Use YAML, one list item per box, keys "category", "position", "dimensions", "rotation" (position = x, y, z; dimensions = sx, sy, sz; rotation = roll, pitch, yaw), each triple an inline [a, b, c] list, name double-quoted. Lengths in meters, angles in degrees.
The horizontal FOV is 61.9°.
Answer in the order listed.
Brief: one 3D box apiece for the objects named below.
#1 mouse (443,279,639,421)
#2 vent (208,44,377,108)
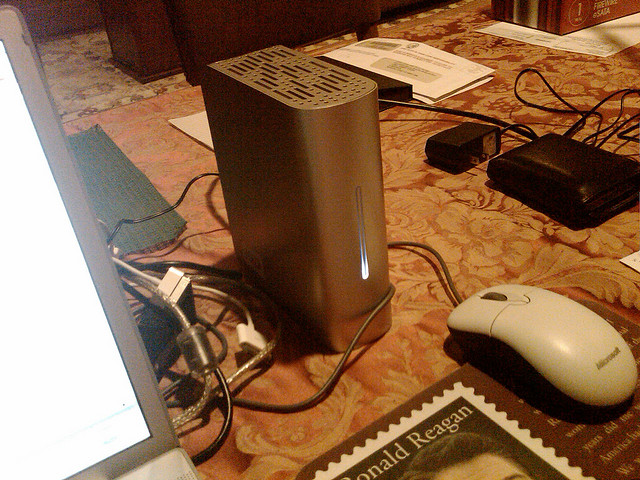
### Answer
- category: "mouse"
  position: [0.221, 0.111, 0.574]
  dimensions: [0.101, 0.058, 0.179]
  rotation: [-30, 46, -30]
- category: "vent"
  position: [-0.032, -0.167, 0.550]
  dimensions: [0.085, 0.011, 0.184]
  rotation: [-33, 48, -27]
